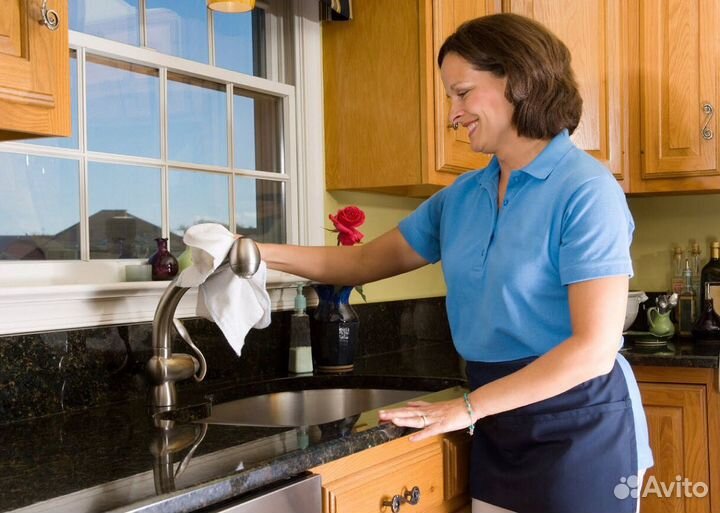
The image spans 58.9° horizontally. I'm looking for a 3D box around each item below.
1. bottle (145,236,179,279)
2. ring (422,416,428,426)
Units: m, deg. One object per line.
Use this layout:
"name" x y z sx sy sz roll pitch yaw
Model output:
"bottle" -0.583 0.006 1.894 0.107 0.152 0.109 -1 2 0
"ring" 0.150 0.378 1.469 0.019 0.014 0.019 -2 3 0
